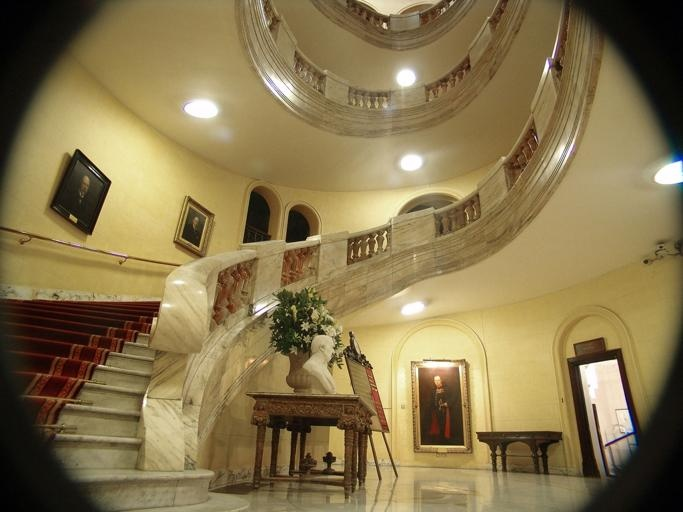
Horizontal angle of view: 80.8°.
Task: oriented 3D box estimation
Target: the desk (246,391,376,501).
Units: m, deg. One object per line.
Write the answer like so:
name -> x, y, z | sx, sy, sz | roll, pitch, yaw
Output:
desk -> -0.294, 2.196, 4.757 | 1.234, 0.965, 1.852 | 0, -24, 9

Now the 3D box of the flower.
flower -> -0.527, 0.892, 5.187 | 0.701, 0.779, 0.588 | 1, 16, -23

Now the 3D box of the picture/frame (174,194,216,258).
picture/frame -> -3.223, -0.636, 8.732 | 0.140, 1.136, 0.989 | -9, -33, 22

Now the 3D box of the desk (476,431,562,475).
desk -> 3.385, 3.708, 7.542 | 0.972, 0.514, 0.394 | -18, -50, 25
